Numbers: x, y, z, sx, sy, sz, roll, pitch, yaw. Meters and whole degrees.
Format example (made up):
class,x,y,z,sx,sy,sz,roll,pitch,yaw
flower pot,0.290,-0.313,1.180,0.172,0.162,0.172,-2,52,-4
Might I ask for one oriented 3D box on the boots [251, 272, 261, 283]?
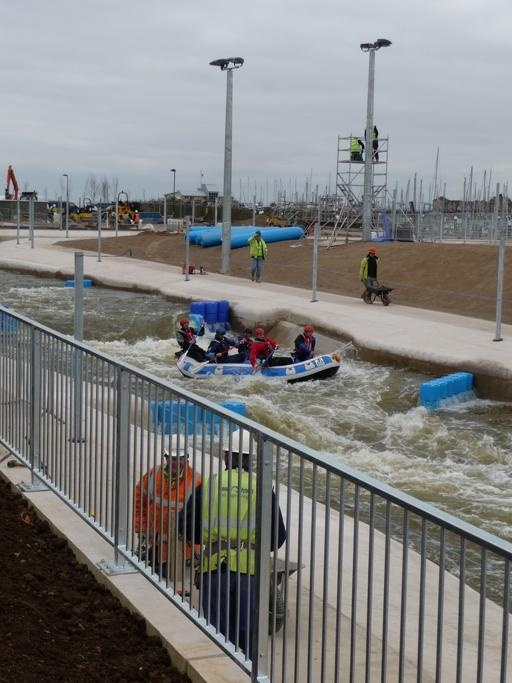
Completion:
class,x,y,z,sx,sy,sz,roll,pitch,yaw
boots,0.015,-2.766,34.453,0.238,0.570,0.550,13,-38,-21

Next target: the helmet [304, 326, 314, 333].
class,x,y,z,sx,sy,sz,roll,pitch,yaw
helmet,1.366,-0.319,20.640,0.177,0.160,0.138,9,10,38

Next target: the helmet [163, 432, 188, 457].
class,x,y,z,sx,sy,sz,roll,pitch,yaw
helmet,-0.454,0.586,4.589,0.123,0.094,0.196,1,-9,-9

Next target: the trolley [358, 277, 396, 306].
class,x,y,z,sx,sy,sz,roll,pitch,yaw
trolley,4.096,-1.801,28.551,1.420,0.723,0.723,7,9,41

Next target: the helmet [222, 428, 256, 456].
class,x,y,z,sx,sy,sz,roll,pitch,yaw
helmet,-0.090,0.525,4.220,0.156,0.106,0.216,2,-9,-3

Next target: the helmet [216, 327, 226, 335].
class,x,y,z,sx,sy,sz,roll,pitch,yaw
helmet,-0.908,-0.230,21.445,0.197,0.211,0.260,15,30,33

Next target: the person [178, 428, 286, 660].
class,x,y,z,sx,sy,sz,roll,pitch,yaw
person,-0.171,1.165,4.546,0.538,1.305,0.430,4,13,-1

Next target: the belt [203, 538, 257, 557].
class,x,y,z,sx,sy,sz,roll,pitch,yaw
belt,-0.131,1.114,4.373,0.288,0.073,0.206,2,0,-12

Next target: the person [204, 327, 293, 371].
class,x,y,z,sx,sy,sz,roll,pitch,yaw
person,-0.208,0.261,20.758,1.537,0.668,1.246,-1,7,11
